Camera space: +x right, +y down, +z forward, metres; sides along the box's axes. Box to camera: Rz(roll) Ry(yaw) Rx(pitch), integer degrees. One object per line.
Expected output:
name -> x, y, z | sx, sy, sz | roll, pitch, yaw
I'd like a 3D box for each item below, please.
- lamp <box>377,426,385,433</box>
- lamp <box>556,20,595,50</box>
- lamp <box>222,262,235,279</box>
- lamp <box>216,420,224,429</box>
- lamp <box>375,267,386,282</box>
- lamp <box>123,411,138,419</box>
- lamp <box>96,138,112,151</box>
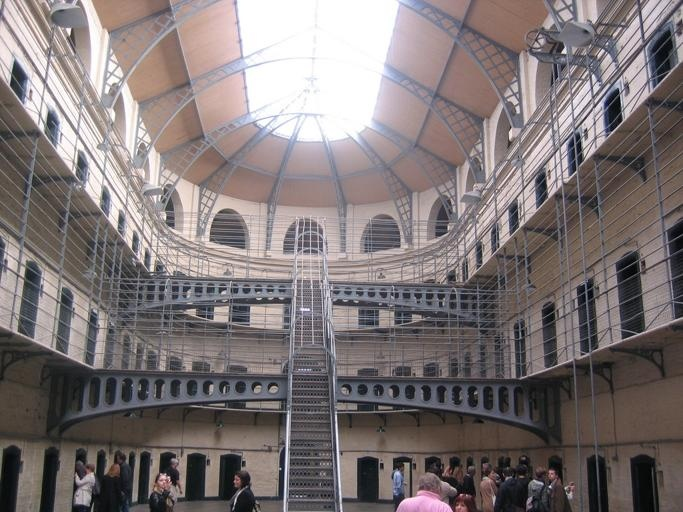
lamp -> 1.400, 6.105, 23.553 | 0.289, 0.182, 0.240 | -17, -33, 32
lamp -> 4.383, -4.100, 12.609 | 0.669, 0.530, 0.707 | 4, 6, 12
lamp -> -4.593, 0.657, 26.611 | 0.693, 0.760, 0.706 | 4, -14, -8
lamp -> -4.227, 5.850, 23.203 | 0.224, 0.242, 0.261 | -1, -28, 6
lamp -> 1.606, 0.713, 27.100 | 0.470, 0.455, 0.445 | -4, -69, 6
lamp -> -6.240, 4.713, 19.783 | 0.286, 0.107, 0.432 | 0, -23, -5
lamp -> -6.177, -2.896, 17.511 | 0.299, 0.361, 0.412 | 1, -19, -4
